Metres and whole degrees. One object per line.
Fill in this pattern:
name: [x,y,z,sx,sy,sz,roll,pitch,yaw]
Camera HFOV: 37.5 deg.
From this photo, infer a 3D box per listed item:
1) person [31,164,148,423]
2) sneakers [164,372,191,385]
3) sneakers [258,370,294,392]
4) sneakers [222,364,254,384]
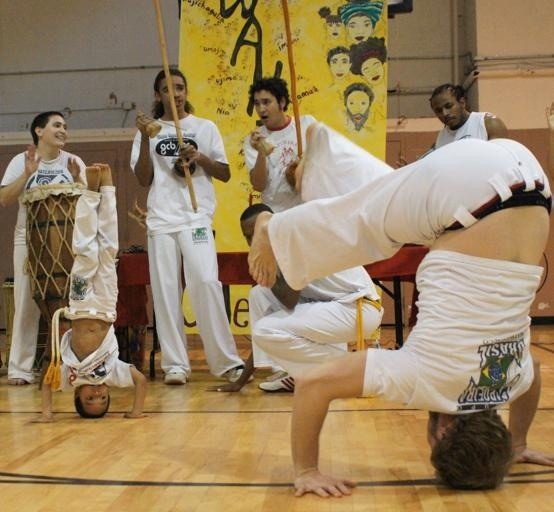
person: [-0.842,0.157,3.608,0.478,1.119,0.416,-3,4,-11]
sneakers: [-0.546,0.660,4.415,0.119,0.078,0.175,-2,4,-7]
sneakers: [-0.002,0.630,4.147,0.257,0.115,0.095,0,-1,28]
sneakers: [-0.217,0.661,4.474,0.078,0.091,0.226,-1,-21,-27]
